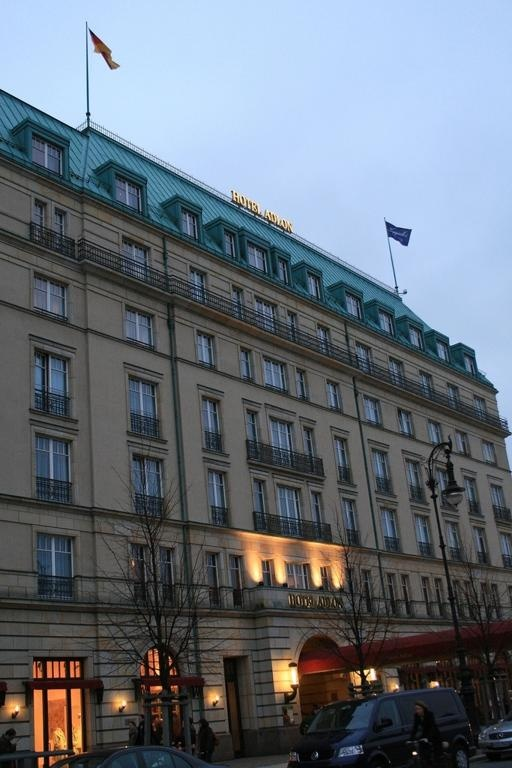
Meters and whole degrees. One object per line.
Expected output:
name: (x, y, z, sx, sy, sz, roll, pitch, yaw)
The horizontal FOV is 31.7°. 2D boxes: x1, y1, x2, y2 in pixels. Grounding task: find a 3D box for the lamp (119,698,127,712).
lamp: (-4.387, 10.538, 29.459, 0.230, 0.437, 0.303, 16, -29, -36)
